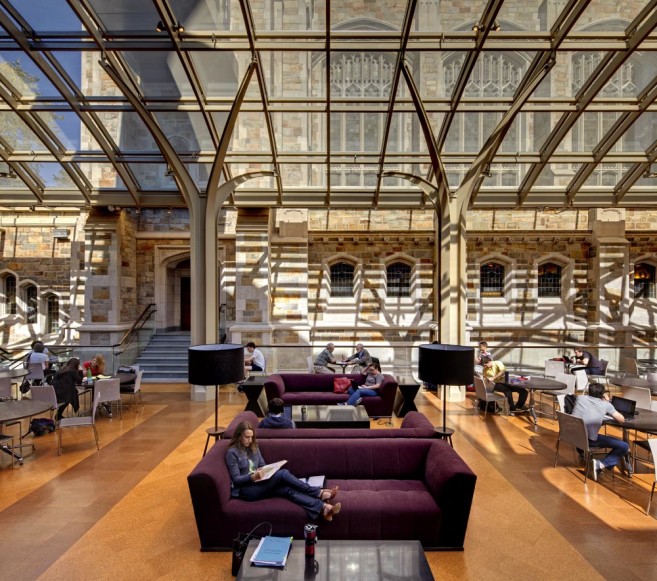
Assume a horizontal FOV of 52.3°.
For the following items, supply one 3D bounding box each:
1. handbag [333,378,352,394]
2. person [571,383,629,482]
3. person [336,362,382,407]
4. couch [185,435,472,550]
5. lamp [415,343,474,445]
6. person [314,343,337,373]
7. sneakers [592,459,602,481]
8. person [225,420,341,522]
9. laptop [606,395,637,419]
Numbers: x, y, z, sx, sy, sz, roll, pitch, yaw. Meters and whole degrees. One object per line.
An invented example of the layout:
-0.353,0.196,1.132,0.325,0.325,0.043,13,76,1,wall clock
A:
0.284,2.037,14.374,0.241,0.128,0.339,1,18,3,handbag
4.586,2.360,11.353,1.034,1.573,0.620,1,-4,-5,person
0.629,2.016,14.066,0.856,1.190,0.520,8,-38,1,person
0.183,2.991,9.817,3.727,1.503,0.885,1,-4,0,couch
1.948,1.760,11.177,0.895,1.729,1.080,0,-4,10,lamp
-0.094,1.578,15.611,0.562,0.830,0.573,3,-1,-8,person
4.443,2.953,11.194,0.162,0.414,0.130,-8,5,-15,sneakers
-0.684,2.621,9.703,1.714,1.198,0.679,6,6,21,person
5.163,2.071,11.653,0.301,0.283,0.387,5,1,-36,laptop
